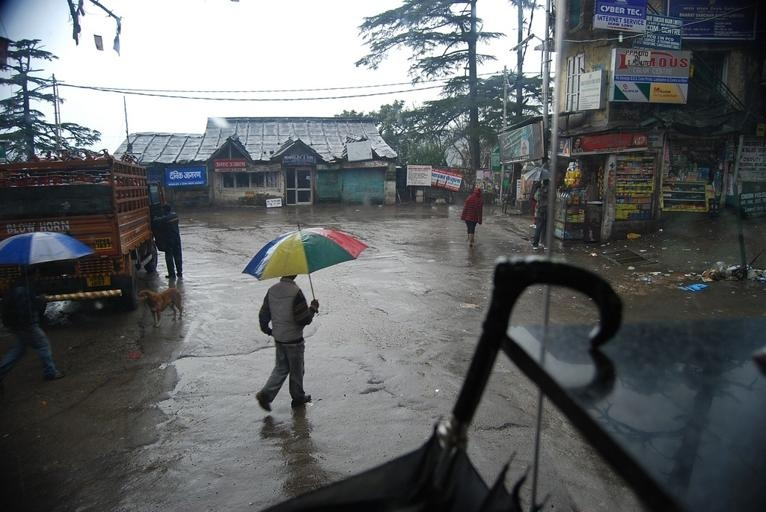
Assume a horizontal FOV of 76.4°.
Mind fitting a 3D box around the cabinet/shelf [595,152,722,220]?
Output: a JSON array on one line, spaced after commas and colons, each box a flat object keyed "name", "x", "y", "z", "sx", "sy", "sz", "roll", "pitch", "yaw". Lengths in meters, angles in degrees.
[{"name": "cabinet/shelf", "x": 9.348, "y": -2.415, "z": 16.635, "sx": 2.572, "sy": 1.650, "sz": 0.882, "roll": -1, "pitch": 1, "yaw": -2}]

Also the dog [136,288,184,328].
[{"name": "dog", "x": -4.276, "y": 0.974, "z": 9.511, "sx": 0.378, "sy": 0.695, "sz": 0.811, "roll": 4, "pitch": 10, "yaw": 27}]

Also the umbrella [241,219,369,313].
[{"name": "umbrella", "x": -1.017, "y": 0.184, "z": 6.681, "sx": 1.191, "sy": 0.805, "sz": 1.173, "roll": -5, "pitch": 17, "yaw": 38}]

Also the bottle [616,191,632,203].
[{"name": "bottle", "x": 7.963, "y": -1.954, "z": 16.216, "sx": 0.500, "sy": 0.373, "sz": 0.098, "roll": -3, "pitch": 9, "yaw": -11}]

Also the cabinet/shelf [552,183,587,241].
[{"name": "cabinet/shelf", "x": 6.427, "y": -1.453, "z": 16.830, "sx": 1.045, "sy": 1.639, "sz": 0.954, "roll": 1, "pitch": 8, "yaw": 9}]

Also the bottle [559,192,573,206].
[{"name": "bottle", "x": 6.169, "y": -1.942, "z": 16.549, "sx": 0.411, "sy": 0.150, "sz": 0.459, "roll": -4, "pitch": 21, "yaw": 3}]

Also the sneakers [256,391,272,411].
[{"name": "sneakers", "x": -1.632, "y": 1.987, "z": 6.679, "sx": 0.189, "sy": 0.317, "sz": 0.210, "roll": -3, "pitch": 9, "yaw": -14}]

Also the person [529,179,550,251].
[{"name": "person", "x": 5.052, "y": -1.338, "z": 15.770, "sx": 0.407, "sy": 2.183, "sz": 1.564, "roll": 2, "pitch": 10, "yaw": 16}]
